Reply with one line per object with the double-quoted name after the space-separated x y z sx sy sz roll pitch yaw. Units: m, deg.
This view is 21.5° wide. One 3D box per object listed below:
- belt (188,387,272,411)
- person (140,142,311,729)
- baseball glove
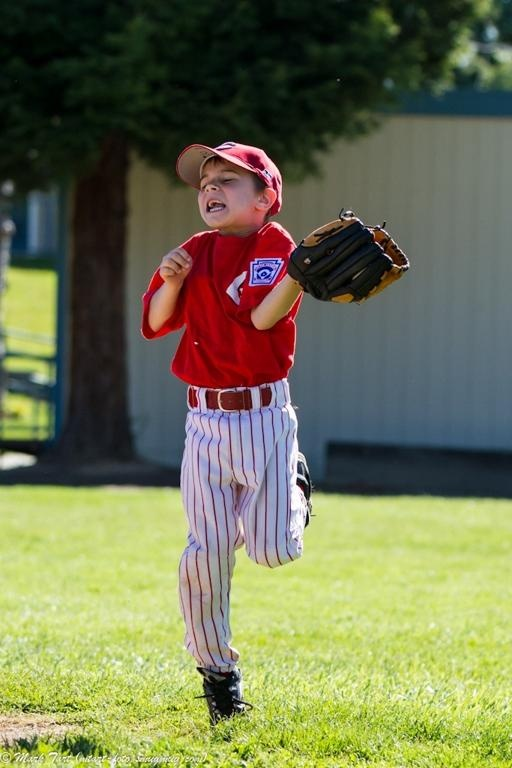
-0.066 0.049 3.964 0.227 0.067 0.053 -5 -2 8 "belt"
-0.069 0.132 4.012 0.537 1.508 0.437 -5 -1 9 "person"
0.269 -0.342 3.860 0.326 0.233 0.152 -7 1 -5 "baseball glove"
